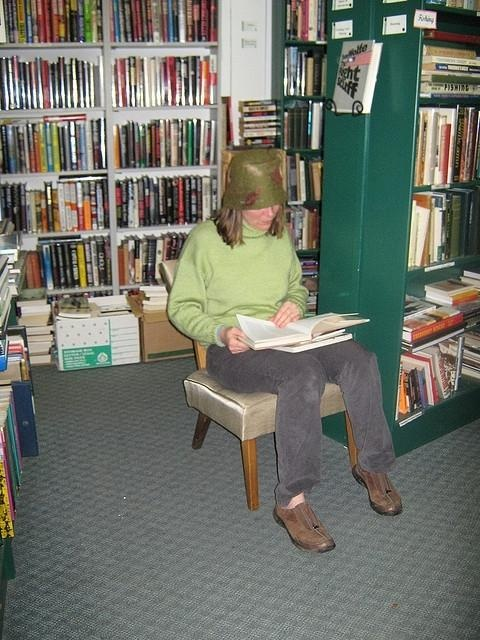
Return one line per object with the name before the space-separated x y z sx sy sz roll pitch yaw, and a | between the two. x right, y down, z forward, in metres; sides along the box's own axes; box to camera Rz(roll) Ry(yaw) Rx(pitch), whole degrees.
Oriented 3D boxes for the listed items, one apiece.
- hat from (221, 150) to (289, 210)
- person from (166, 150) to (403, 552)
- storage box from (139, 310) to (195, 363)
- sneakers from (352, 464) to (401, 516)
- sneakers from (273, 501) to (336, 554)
hat | 0.053 -0.459 1.667 0.174 0.134 0.246 -6 33 -11
person | 0.175 0.031 1.669 0.717 1.193 0.515 11 15 43
storage box | -0.493 0.077 3.155 0.363 0.323 0.305 -6 24 -25
sneakers | 0.468 0.566 1.713 0.080 0.082 0.197 -15 26 -11
sneakers | 0.190 0.604 1.510 0.092 0.079 0.189 -16 31 -33
